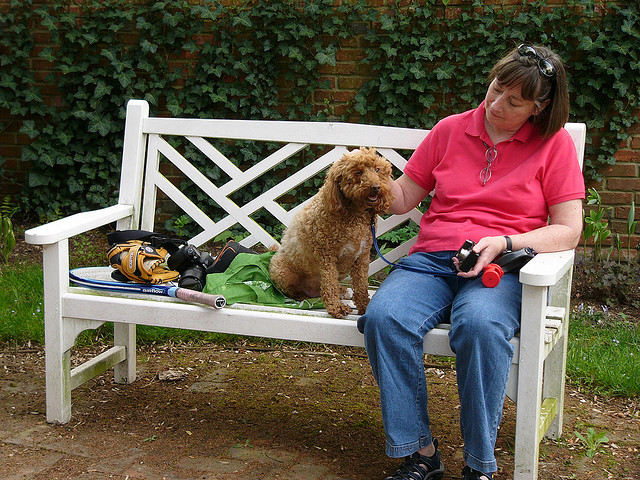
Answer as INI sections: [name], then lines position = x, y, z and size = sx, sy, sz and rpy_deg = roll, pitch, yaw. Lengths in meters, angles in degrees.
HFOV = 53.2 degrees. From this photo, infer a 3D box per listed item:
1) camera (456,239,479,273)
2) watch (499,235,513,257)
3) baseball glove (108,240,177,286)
[camera]
position = 0.666, 0.081, 2.937
size = 0.047, 0.137, 0.100
rpy_deg = 21, 37, -8
[watch]
position = 0.877, 0.033, 2.994
size = 0.054, 0.084, 0.087
rpy_deg = -10, -7, -4
[baseball glove]
position = -0.933, 0.078, 3.414
size = 0.307, 0.242, 0.369
rpy_deg = 7, 10, 29
